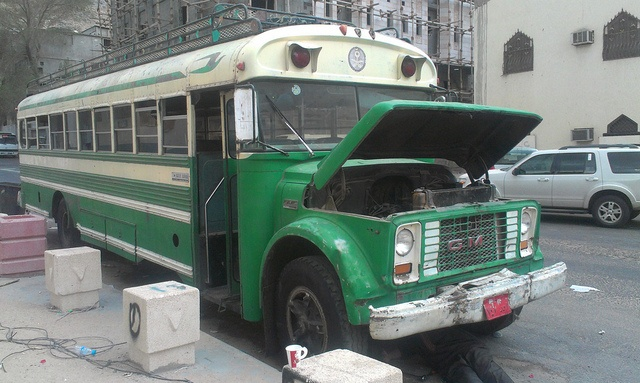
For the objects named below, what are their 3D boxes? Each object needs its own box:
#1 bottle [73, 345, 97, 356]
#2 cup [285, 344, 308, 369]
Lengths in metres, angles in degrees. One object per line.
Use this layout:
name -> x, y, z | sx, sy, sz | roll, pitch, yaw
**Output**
bottle -> -3.668, 2.496, 7.997 | 0.386, 0.151, 0.140 | 7, 3, 8
cup -> -0.262, 2.028, 6.335 | 0.358, 0.248, 0.249 | 7, -11, -40
